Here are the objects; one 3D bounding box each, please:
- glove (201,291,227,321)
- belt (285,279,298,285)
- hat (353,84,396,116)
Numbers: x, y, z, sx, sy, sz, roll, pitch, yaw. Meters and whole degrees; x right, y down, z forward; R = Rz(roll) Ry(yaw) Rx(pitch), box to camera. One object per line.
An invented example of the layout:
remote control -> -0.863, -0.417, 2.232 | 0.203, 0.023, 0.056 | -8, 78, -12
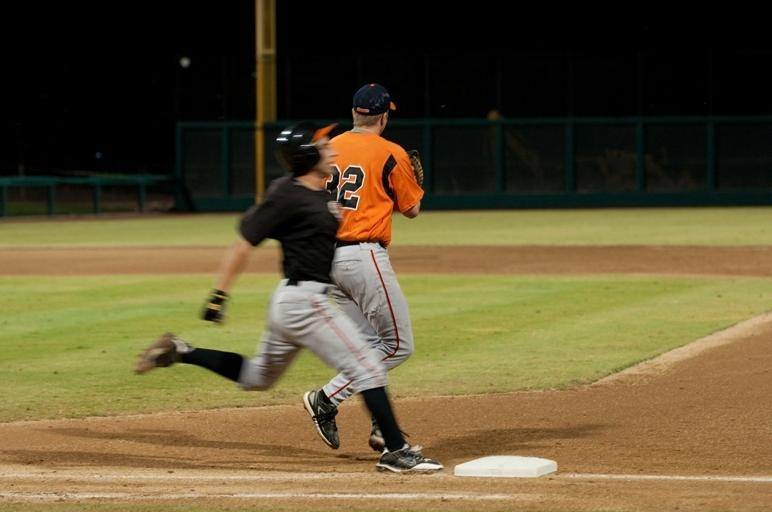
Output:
glove -> -1.746, 0.510, 13.006 | 0.283, 0.365, 0.286 | -3, 4, -7
belt -> -0.950, 0.264, 12.925 | 0.120, 0.061, 0.017 | -2, 4, 9
hat -> -0.111, -1.715, 13.656 | 0.363, 0.232, 0.462 | 8, 25, 22
